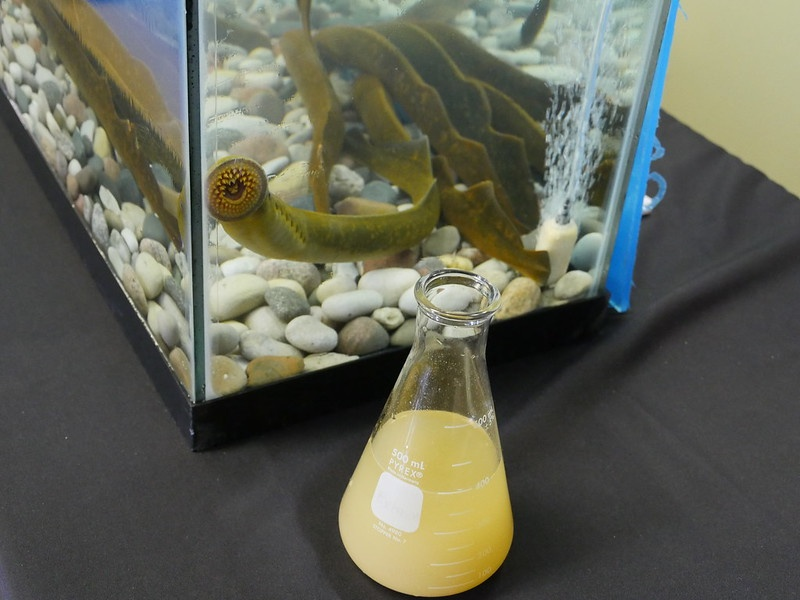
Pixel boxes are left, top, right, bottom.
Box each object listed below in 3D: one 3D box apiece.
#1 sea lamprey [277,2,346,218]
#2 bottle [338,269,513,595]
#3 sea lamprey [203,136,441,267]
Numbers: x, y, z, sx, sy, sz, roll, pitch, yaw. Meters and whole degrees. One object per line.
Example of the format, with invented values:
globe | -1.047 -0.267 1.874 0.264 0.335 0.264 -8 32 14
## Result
sea lamprey | -0.089 -0.190 0.761 0.036 0.209 0.047 6 28 12
bottle | 0.033 0.139 0.710 0.173 0.271 0.172 3 44 -3
sea lamprey | -0.071 -0.112 0.861 0.120 0.138 0.321 27 32 32
